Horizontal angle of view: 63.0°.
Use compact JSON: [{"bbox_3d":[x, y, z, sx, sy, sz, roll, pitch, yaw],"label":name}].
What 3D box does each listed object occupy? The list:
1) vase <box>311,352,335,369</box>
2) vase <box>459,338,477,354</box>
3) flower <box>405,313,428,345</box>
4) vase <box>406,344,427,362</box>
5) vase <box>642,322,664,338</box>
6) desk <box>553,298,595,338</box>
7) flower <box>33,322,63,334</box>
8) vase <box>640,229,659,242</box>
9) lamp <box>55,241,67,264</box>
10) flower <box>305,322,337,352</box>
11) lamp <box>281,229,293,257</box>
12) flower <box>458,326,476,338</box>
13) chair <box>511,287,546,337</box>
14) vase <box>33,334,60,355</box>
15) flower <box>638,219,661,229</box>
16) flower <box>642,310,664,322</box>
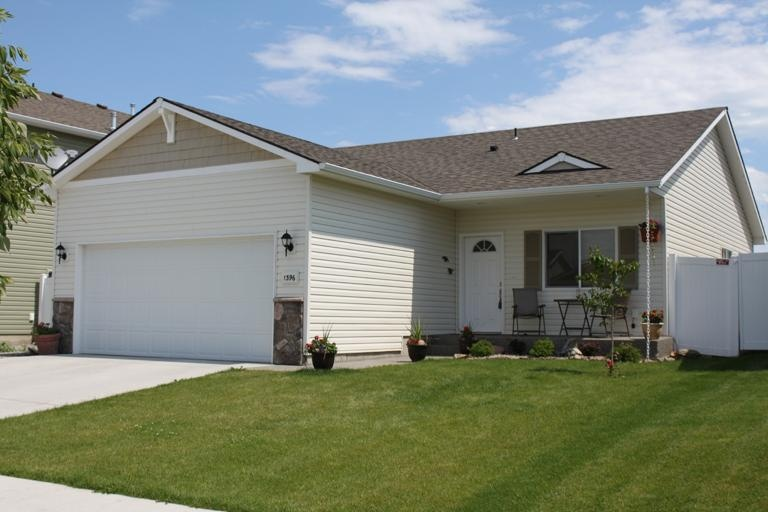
[{"bbox_3d":[-1.394,2.374,14.149,0.439,0.248,0.425,0,-6,3],"label":"vase"},{"bbox_3d":[2.192,2.374,16.741,0.453,0.530,0.441,5,-7,-42],"label":"vase"},{"bbox_3d":[0.909,2.085,17.006,0.709,0.935,0.664,6,-17,-18],"label":"flower"},{"bbox_3d":[0.823,2.489,15.837,0.448,0.303,0.453,-6,-9,40],"label":"vase"},{"bbox_3d":[6.837,1.911,15.988,0.465,0.302,0.437,0,-8,5],"label":"vase"},{"bbox_3d":[5.599,1.714,18.268,1.139,0.948,1.145,0,1,30],"label":"desk"},{"bbox_3d":[-9.802,2.152,18.284,0.531,0.242,0.510,3,-3,-4],"label":"flower"},{"bbox_3d":[7.165,-0.520,16.750,0.398,0.239,0.372,0,-4,3],"label":"vase"},{"bbox_3d":[-9.425,-0.096,18.298,0.373,0.608,0.132,-4,-8,24],"label":"lamp"},{"bbox_3d":[-1.409,1.911,14.455,0.746,0.669,0.544,4,-11,-12],"label":"flower"},{"bbox_3d":[-2.386,-0.311,15.281,0.396,0.631,0.158,-5,-8,30],"label":"lamp"},{"bbox_3d":[2.268,2.081,16.995,0.364,0.363,0.428,-9,-1,-1],"label":"flower"},{"bbox_3d":[4.259,1.664,18.526,0.969,1.378,0.521,-2,-7,12],"label":"chair"},{"bbox_3d":[-9.667,2.564,17.947,0.630,0.434,0.639,-8,-9,42],"label":"vase"},{"bbox_3d":[7.183,-0.839,16.902,0.384,0.191,0.383,-1,-4,19],"label":"flower"},{"bbox_3d":[7.001,1.573,16.252,0.434,0.294,0.416,4,-36,-9],"label":"flower"}]
